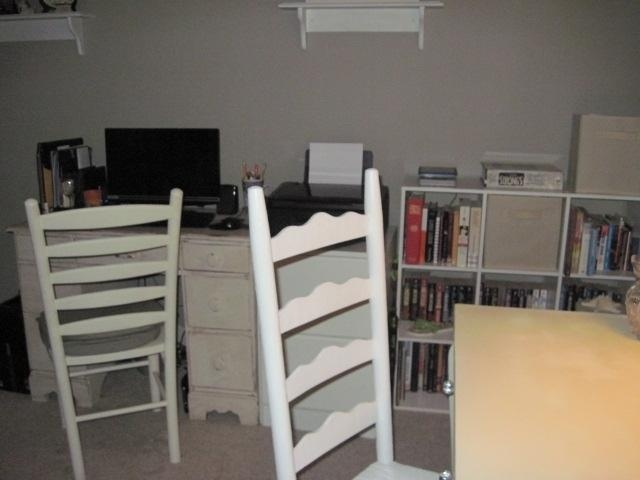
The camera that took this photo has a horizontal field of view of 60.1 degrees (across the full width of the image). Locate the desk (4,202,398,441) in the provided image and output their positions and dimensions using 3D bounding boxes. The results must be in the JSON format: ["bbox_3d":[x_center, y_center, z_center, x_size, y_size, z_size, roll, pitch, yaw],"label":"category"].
[{"bbox_3d":[-0.509,0.356,2.340,1.081,0.666,0.360,0,8,7],"label":"desk"}]

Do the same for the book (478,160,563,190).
[{"bbox_3d":[0.994,-0.315,2.723,0.372,0.127,0.201,3,12,13],"label":"book"}]

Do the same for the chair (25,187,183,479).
[{"bbox_3d":[-0.890,0.388,2.471,0.629,1.259,0.638,-5,13,-24],"label":"chair"}]

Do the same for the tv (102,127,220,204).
[{"bbox_3d":[-0.824,-0.371,2.886,0.574,0.421,0.162,0,0,-6],"label":"tv"}]

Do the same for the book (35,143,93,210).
[{"bbox_3d":[-1.325,-0.321,2.843,0.136,0.384,0.322,13,18,26],"label":"book"}]

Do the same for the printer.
[{"bbox_3d":[0.009,-0.284,2.686,0.469,0.424,0.472,2,13,10],"label":"printer"}]
